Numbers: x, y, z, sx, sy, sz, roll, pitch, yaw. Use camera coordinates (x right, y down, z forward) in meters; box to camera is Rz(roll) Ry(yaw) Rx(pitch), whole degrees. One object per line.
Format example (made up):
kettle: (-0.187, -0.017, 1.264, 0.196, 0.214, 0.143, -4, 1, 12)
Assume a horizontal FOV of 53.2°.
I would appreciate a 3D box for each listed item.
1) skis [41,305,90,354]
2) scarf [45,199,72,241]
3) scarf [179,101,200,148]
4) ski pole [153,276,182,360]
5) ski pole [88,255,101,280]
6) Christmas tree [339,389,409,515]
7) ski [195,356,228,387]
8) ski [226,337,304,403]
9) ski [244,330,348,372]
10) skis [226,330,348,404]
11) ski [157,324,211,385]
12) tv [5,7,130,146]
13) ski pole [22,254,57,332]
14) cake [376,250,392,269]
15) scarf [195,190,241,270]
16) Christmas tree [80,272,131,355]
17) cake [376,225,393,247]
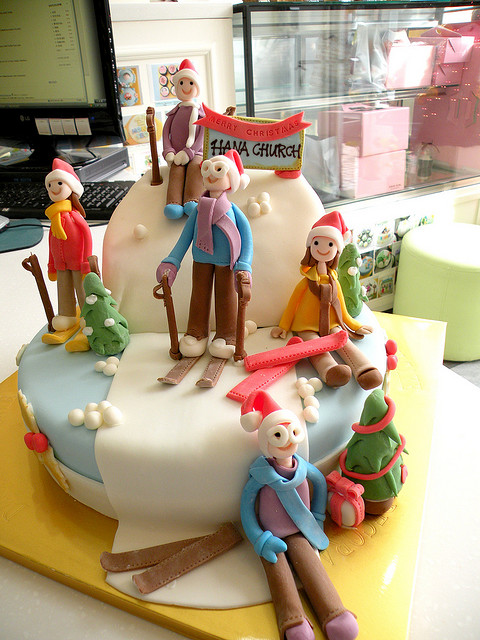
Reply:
skis: (-0.360, 0.027, 1.017, 0.088, 0.032, 0.107, 6, 25, 8)
scarf: (-0.375, -0.205, 1.001, 0.061, 0.076, 0.036, -1, -3, 17)
scarf: (-0.110, -0.453, 1.109, 0.030, 0.081, 0.063, -3, 10, -41)
ski pole: (-0.143, -0.008, 0.943, 0.043, 0.151, 0.030, -8, 1, 36)
ski pole: (-0.298, -0.109, 0.996, 0.017, 0.048, 0.035, -12, -3, -14)
Christmas tree: (0.226, 0.230, 0.839, 0.135, 0.215, 0.128, -8, 15, -10)
ski: (-0.054, 0.098, 0.882, 0.033, 0.013, 0.125, 15, 21, 0)
ski: (0.049, 0.100, 0.874, 0.039, 0.020, 0.191, 15, 29, 35)
ski: (0.112, 0.062, 0.924, 0.083, 0.028, 0.118, -18, 29, -37)
skis: (0.107, 0.094, 0.905, 0.255, 0.029, 0.097, -19, 37, -11)
ski: (-0.106, 0.070, 0.934, 0.090, 0.077, 0.094, -1, 32, -10)
tv: (-0.593, -0.829, 1.621, 0.484, 0.465, 0.039, 14, 35, 11)
ski pole: (-0.421, -0.047, 1.030, 0.052, 0.188, 0.050, 6, 28, 25)
cake: (0.640, -0.281, 2.206, 0.080, 0.077, 0.021, 8, 28, -30)
scarf: (-0.042, -0.172, 0.934, 0.099, 0.143, 0.064, 9, 18, 22)
Christmas tree: (-0.285, -0.011, 0.985, 0.112, 0.171, 0.093, 6, 28, 23)
cake: (0.634, -0.376, 2.144, 0.058, 0.069, 0.098, 19, 47, 25)
